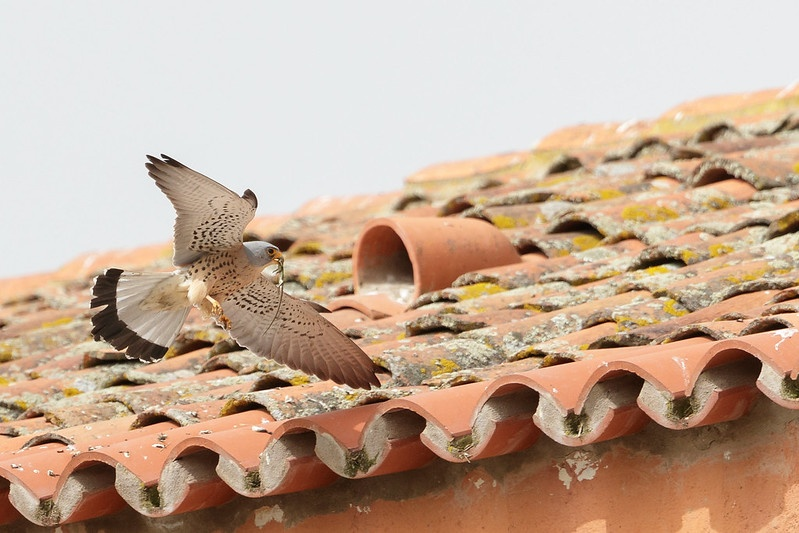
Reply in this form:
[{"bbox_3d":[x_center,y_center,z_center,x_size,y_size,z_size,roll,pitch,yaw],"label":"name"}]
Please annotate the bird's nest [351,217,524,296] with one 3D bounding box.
[{"bbox_3d":[0.205,-0.107,11.999,1.000,0.469,0.801,-21,-15,41],"label":"bird's nest"}]
